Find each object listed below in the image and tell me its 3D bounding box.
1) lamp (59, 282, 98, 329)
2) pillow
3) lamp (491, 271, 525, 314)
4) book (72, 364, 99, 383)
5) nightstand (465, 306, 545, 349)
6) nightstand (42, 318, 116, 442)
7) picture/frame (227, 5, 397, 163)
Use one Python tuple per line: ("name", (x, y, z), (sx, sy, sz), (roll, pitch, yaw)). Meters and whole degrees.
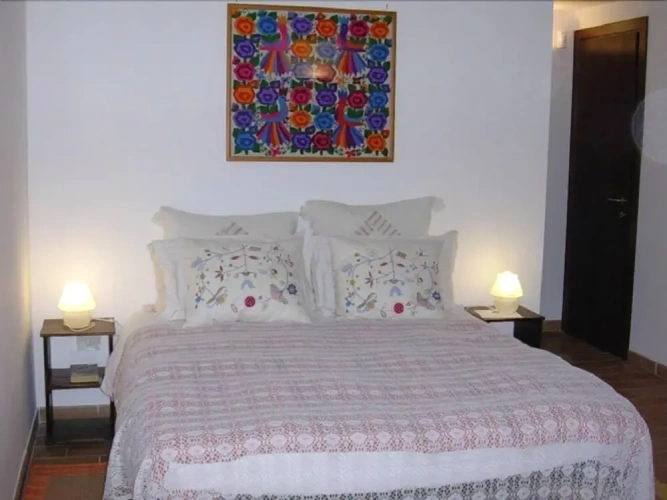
("lamp", (-1.563, 0.351, 3.194), (0.219, 0.282, 0.230), (5, 6, -3))
("pillow", (-0.166, 0.066, 3.271), (1.922, 0.735, 0.602), (-3, 4, -9))
("lamp", (1.218, 0.300, 3.690), (0.204, 0.292, 0.205), (0, 7, 16))
("book", (-1.475, 0.741, 3.126), (0.170, 0.121, 0.096), (1, -9, -9))
("nightstand", (1.202, 0.499, 3.619), (0.388, 0.394, 0.305), (1, 11, 3))
("nightstand", (-1.575, 0.810, 3.266), (0.396, 0.691, 0.336), (0, 5, -25))
("picture/frame", (-0.187, -1.144, 3.507), (1.001, 0.856, 0.040), (-1, 7, -7))
